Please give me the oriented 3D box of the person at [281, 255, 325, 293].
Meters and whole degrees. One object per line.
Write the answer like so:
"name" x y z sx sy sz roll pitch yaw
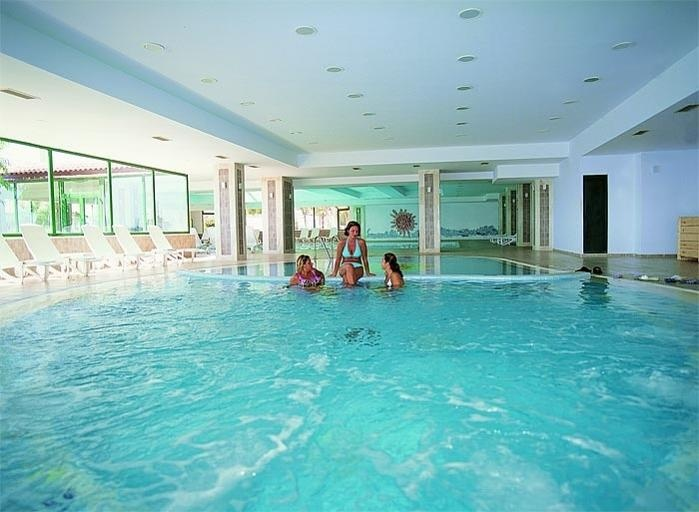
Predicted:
"person" -0.784 0.291 7.640 0.773 0.578 0.427 -9 18 -36

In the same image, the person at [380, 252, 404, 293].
"person" 0.808 0.319 7.769 0.427 0.724 0.441 -15 16 -37

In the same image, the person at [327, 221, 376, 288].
"person" 0.027 -0.079 7.874 0.744 1.176 1.111 -2 9 2
